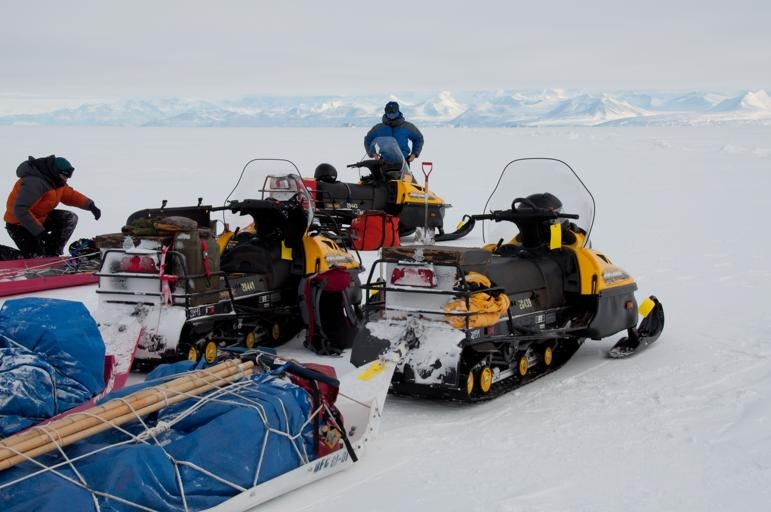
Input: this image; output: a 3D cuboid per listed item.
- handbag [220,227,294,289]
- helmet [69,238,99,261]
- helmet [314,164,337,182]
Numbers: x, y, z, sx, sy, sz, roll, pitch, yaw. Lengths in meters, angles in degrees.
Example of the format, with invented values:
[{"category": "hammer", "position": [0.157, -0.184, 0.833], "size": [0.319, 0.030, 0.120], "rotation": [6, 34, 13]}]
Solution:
[{"category": "handbag", "position": [-1.929, 0.056, 11.048], "size": [1.112, 0.472, 0.756], "rotation": [3, 11, 26]}, {"category": "helmet", "position": [-5.799, -0.112, 14.031], "size": [0.563, 0.202, 0.419], "rotation": [0, 39, -29]}, {"category": "helmet", "position": [-1.273, -1.769, 15.590], "size": [0.377, 0.402, 0.447], "rotation": [4, 23, -1]}]
